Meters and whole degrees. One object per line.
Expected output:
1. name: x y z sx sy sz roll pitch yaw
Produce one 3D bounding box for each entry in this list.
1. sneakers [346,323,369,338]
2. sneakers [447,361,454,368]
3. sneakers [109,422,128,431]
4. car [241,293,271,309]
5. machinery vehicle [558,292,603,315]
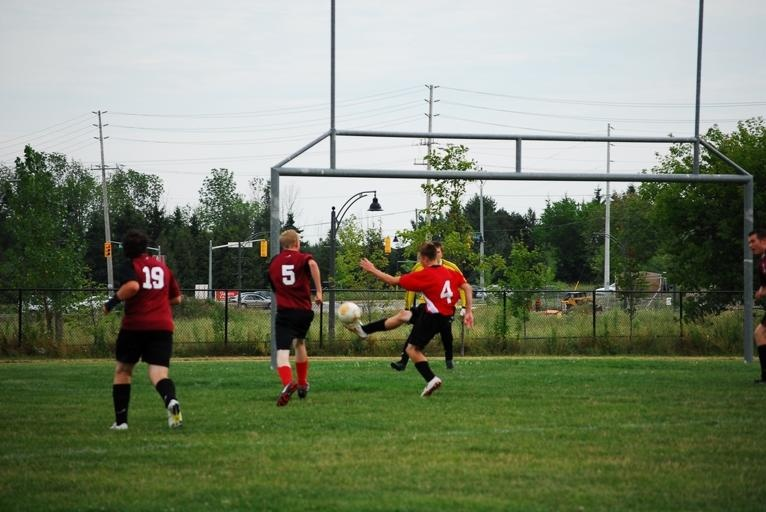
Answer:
1. sneakers: -0.584 1.720 27.129 0.635 0.265 0.222 23 14 38
2. sneakers: 1.736 2.768 29.586 0.226 0.218 0.166 -3 -1 -4
3. sneakers: -5.522 3.547 24.282 0.397 0.161 0.142 1 6 10
4. car: -7.417 2.616 66.940 2.489 0.827 1.298 -3 5 -21
5. machinery vehicle: 9.463 2.308 55.795 1.247 0.852 1.765 -2 4 -20
